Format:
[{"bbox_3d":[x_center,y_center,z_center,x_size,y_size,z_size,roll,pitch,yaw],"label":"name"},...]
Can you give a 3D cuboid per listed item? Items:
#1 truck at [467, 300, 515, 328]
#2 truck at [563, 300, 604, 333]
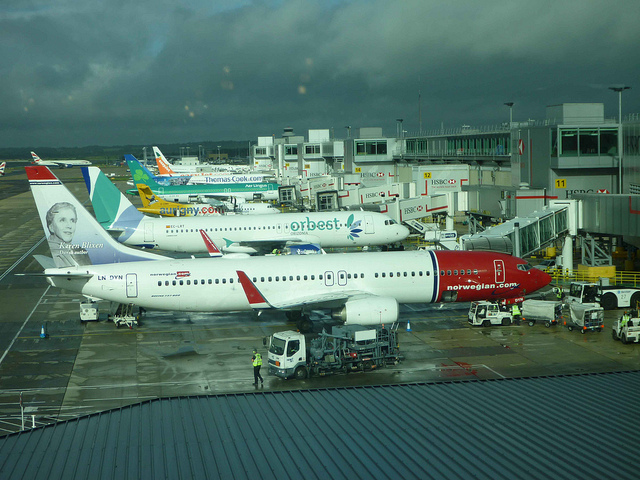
[{"bbox_3d":[12.794,5.548,53.384,3.670,1.358,1.803,-3,6,-6],"label":"truck"},{"bbox_3d":[19.593,5.651,51.189,2.487,1.488,2.558,0,-2,-16],"label":"truck"}]
